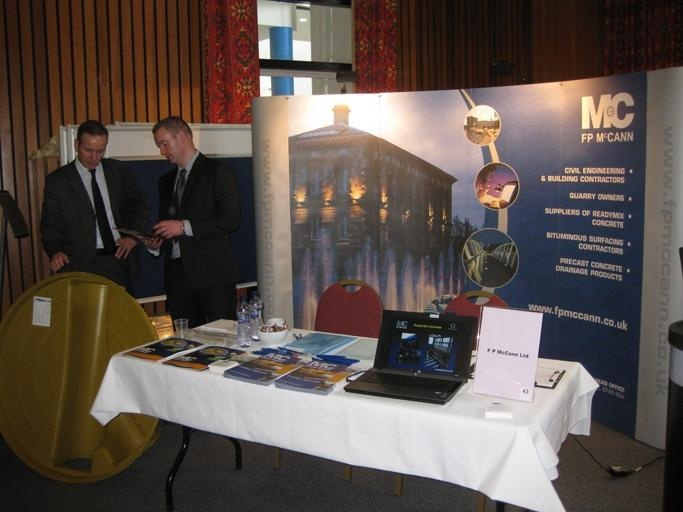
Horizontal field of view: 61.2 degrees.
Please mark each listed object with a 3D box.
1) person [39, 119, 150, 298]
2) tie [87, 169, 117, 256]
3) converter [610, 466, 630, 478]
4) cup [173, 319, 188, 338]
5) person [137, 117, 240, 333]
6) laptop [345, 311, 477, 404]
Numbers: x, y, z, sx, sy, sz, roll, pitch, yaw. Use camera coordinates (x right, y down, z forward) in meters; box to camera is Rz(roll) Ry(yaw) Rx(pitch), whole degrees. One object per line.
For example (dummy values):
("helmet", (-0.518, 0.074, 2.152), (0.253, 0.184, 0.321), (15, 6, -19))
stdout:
("person", (-1.823, -0.340, 4.357), (0.770, 1.321, 0.366), (-8, 15, -30))
("tie", (-1.796, -0.322, 4.395), (0.136, 0.665, 0.062), (-13, 3, -14))
("converter", (1.669, 1.294, 3.498), (0.097, 0.047, 0.057), (2, 3, 15))
("cup", (-0.926, 0.414, 3.414), (0.091, 0.115, 0.093), (1, 7, 0))
("person", (-1.112, -0.259, 4.388), (0.687, 1.554, 0.501), (-3, 13, -10))
("laptop", (0.355, 0.342, 2.710), (0.447, 0.331, 0.425), (2, 8, 26))
